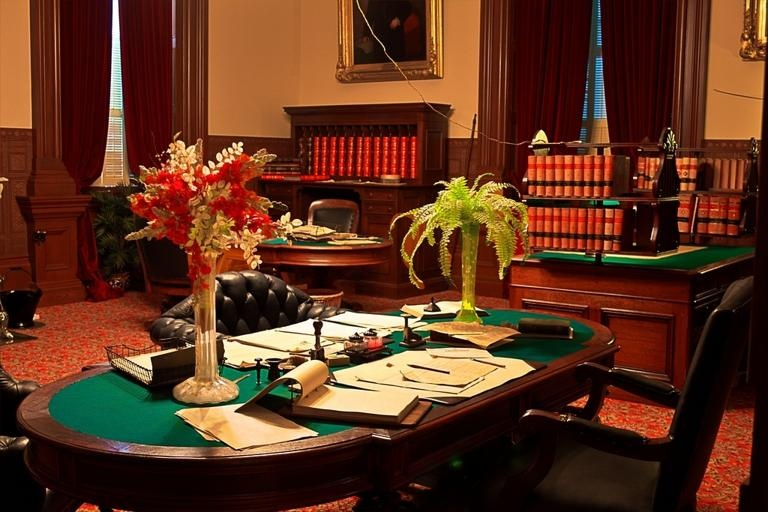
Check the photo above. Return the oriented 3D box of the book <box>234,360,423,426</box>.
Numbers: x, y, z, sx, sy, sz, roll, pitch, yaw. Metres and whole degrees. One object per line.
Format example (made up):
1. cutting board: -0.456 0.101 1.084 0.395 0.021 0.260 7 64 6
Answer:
1. book: -0.168 0.510 1.932 0.403 0.088 0.274 1 5 15

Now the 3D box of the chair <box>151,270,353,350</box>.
1. chair: -0.923 0.317 3.382 0.577 0.597 0.727 -5 4 45

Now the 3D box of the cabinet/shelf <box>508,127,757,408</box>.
1. cabinet/shelf: 2.074 0.297 5.129 2.109 1.351 2.834 3 6 29

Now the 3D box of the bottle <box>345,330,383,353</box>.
1. bottle: -0.087 0.396 2.516 0.084 0.102 0.164 -1 0 32

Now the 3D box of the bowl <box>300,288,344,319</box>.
1. bowl: -0.470 0.363 3.951 0.351 0.227 0.346 0 -2 0

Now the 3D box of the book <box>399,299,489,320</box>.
1. book: 0.387 0.346 3.528 0.438 0.055 0.318 -4 6 -28

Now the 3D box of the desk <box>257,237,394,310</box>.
1. desk: -0.746 0.000 5.972 0.881 0.485 1.156 -4 7 -25

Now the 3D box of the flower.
1. flower: -0.684 -0.123 2.140 0.598 0.549 0.574 2 4 -22

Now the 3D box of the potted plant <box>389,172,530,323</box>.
1. potted plant: 0.421 0.006 3.068 0.742 0.699 0.827 -8 -14 41

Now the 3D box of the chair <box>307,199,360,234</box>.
1. chair: -0.615 -0.498 7.262 0.543 0.724 0.565 1 1 11
